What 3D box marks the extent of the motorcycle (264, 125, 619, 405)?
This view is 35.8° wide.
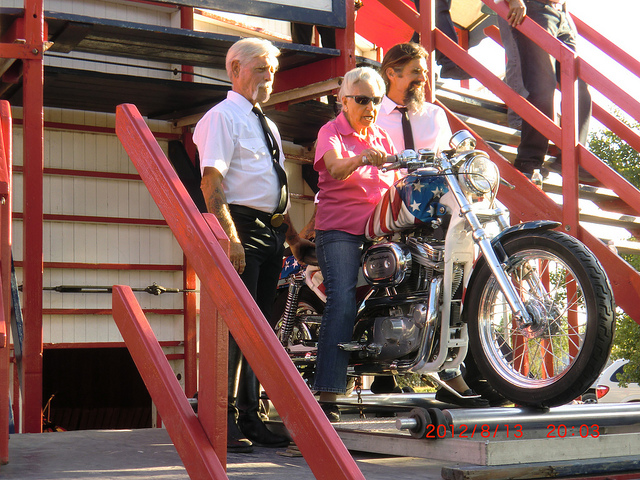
[{"bbox_3d":[0.478,0.157,7.106,3.110,1.848,0.974,-3,-4,43],"label":"motorcycle"}]

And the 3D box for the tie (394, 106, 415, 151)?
[{"bbox_3d":[0.656,-0.829,7.505,0.109,0.369,0.035,-6,-1,10],"label":"tie"}]

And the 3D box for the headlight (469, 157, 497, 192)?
[{"bbox_3d":[1.072,-0.428,6.571,0.200,0.203,0.047,-33,12,-33],"label":"headlight"}]

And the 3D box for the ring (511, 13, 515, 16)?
[{"bbox_3d":[1.645,-1.925,8.487,0.025,0.029,0.006,-12,-15,41],"label":"ring"}]

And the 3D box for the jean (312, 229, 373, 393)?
[{"bbox_3d":[0.080,0.487,6.995,0.417,1.025,0.470,2,8,-32],"label":"jean"}]
